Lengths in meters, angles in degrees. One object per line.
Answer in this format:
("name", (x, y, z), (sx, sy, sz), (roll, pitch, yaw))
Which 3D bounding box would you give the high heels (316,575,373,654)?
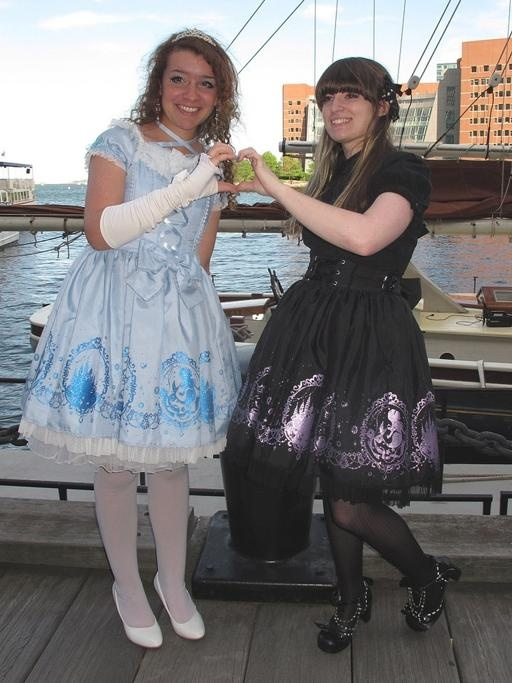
("high heels", (0.254, 0.786, 1.730), (0.093, 0.130, 0.257), (1, 3, 35))

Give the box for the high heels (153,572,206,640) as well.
("high heels", (-0.233, 0.784, 1.768), (0.078, 0.035, 0.207), (-13, 46, -38))

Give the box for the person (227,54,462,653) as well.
("person", (0.244, 0.030, 1.697), (0.698, 1.602, 0.658), (-3, 20, -4))

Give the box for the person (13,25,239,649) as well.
("person", (-0.355, -0.013, 1.758), (0.581, 1.733, 0.766), (1, 20, 8))

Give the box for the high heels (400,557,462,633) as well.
("high heels", (0.483, 0.774, 1.746), (0.098, 0.092, 0.172), (-6, -1, 5))
